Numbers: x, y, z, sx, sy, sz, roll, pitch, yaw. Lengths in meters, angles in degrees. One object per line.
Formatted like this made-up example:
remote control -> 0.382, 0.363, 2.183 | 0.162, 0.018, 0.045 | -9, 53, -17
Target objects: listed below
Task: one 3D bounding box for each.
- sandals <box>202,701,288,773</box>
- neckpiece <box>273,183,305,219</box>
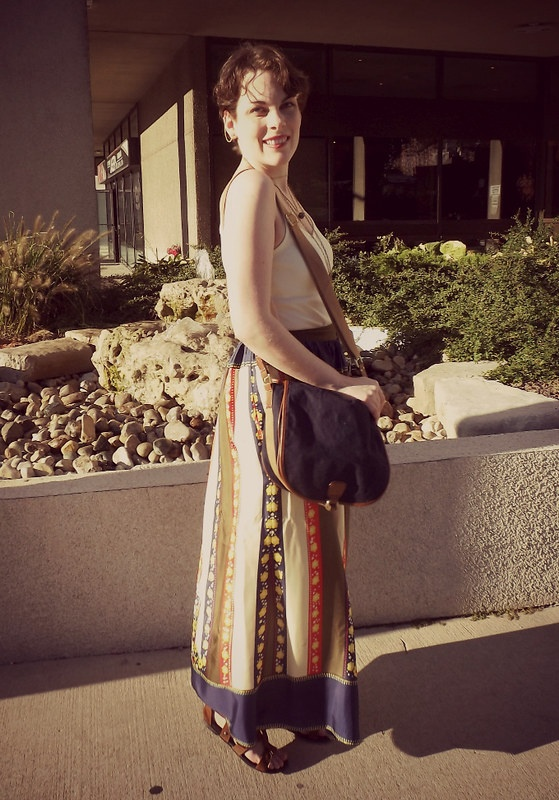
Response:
sandals -> -0.083, 0.801, 1.521 | 0.083, 0.062, 0.226 | -13, 14, -38
neckpiece -> 0.022, -0.392, 1.255 | 0.021, 0.095, 0.052 | -40, -1, 30
